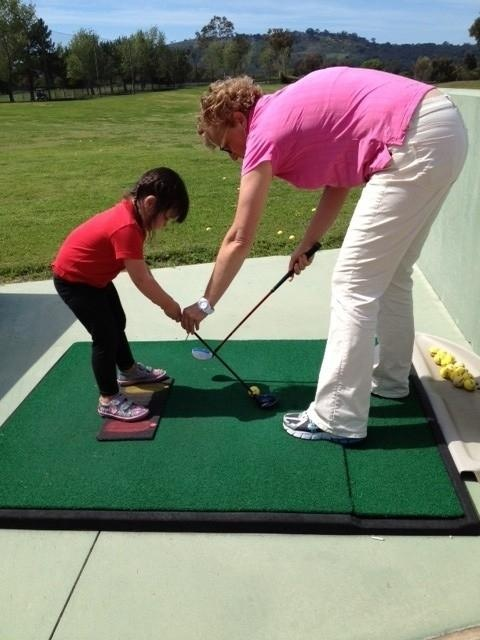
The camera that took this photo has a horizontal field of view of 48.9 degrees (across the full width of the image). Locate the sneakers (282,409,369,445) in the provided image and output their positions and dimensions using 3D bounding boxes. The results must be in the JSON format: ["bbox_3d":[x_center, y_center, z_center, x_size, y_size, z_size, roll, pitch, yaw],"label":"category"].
[{"bbox_3d":[0.331,0.391,2.040,0.297,0.125,0.118,9,6,12],"label":"sneakers"}]

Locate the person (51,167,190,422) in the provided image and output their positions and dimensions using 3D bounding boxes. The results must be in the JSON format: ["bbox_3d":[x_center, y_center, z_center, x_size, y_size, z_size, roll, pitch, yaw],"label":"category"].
[{"bbox_3d":[-0.453,-0.063,2.079,0.531,1.008,0.260,-3,27,-6],"label":"person"}]

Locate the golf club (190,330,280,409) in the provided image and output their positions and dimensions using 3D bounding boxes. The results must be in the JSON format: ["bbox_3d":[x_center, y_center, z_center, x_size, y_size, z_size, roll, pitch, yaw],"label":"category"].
[{"bbox_3d":[-0.016,0.242,2.272,0.101,0.436,0.059,-33,32,26],"label":"golf club"}]

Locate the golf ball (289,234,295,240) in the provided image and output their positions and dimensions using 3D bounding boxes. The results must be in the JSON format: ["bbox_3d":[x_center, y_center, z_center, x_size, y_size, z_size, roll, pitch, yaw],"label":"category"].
[{"bbox_3d":[0.497,-0.773,4.999,0.056,0.029,0.054,-12,11,2],"label":"golf ball"}]

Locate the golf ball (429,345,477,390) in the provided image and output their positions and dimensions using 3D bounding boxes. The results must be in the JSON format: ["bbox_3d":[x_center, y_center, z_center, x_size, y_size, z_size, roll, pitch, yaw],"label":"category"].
[{"bbox_3d":[0.987,0.218,2.451,0.235,0.129,0.232,0,16,0],"label":"golf ball"}]

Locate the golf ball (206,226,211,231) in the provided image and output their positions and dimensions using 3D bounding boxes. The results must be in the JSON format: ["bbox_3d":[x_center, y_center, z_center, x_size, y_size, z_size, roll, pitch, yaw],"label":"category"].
[{"bbox_3d":[-0.323,-0.952,5.568,0.042,0.015,0.046,12,-15,3],"label":"golf ball"}]

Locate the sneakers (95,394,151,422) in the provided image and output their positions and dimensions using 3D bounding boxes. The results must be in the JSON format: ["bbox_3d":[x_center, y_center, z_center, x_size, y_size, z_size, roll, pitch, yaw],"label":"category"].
[{"bbox_3d":[-0.477,0.364,2.205,0.217,0.091,0.095,3,18,-2],"label":"sneakers"}]

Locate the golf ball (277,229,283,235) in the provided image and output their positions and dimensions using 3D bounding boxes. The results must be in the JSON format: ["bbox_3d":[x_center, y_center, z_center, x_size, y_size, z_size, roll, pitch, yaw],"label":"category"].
[{"bbox_3d":[0.404,-0.873,5.262,0.056,0.029,0.054,-8,16,2],"label":"golf ball"}]
